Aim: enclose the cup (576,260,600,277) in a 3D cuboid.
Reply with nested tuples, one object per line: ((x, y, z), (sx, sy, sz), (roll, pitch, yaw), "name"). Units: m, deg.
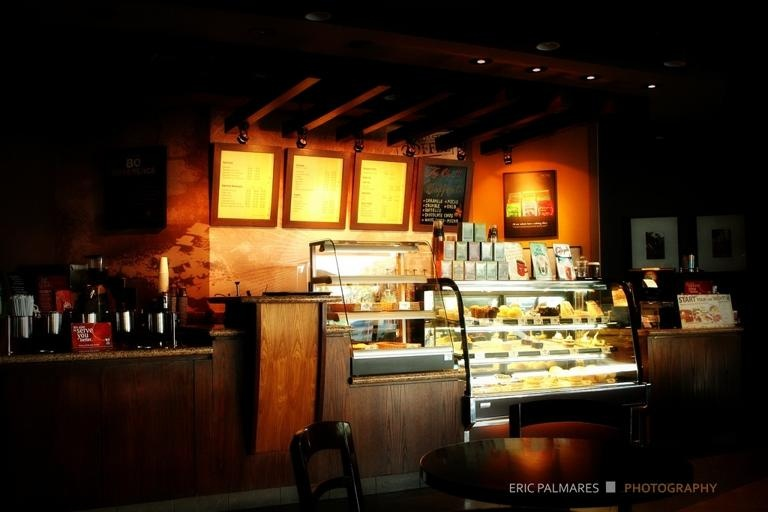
((2.348, 0.154, 6.812), (0.307, 0.266, 0.163), (0, -2, -1), "cup")

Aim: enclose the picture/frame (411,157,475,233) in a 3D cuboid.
((0.764, -0.847, 8.039), (1.189, 1.225, 0.181), (2, -1, -25), "picture/frame")

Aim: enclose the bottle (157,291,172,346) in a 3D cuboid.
((-2.110, 0.591, 5.693), (0.130, 0.441, 0.754), (1, -2, -21), "bottle")

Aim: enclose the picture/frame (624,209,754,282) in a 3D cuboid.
((3.764, -0.150, 7.371), (1.290, 0.691, 0.151), (-1, -3, 18), "picture/frame")
